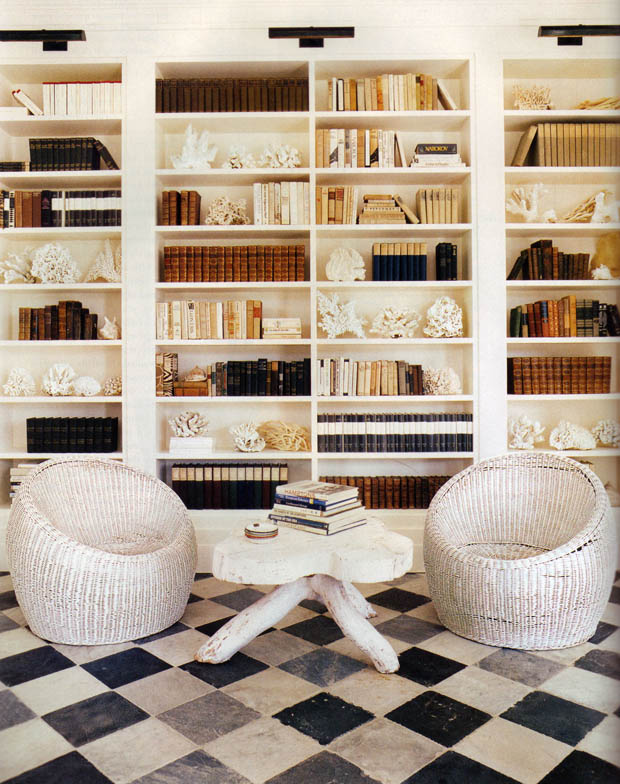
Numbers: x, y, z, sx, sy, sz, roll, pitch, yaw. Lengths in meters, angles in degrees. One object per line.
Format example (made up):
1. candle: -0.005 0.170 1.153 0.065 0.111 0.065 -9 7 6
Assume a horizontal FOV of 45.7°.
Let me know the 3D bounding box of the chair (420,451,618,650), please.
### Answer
1. chair: 0.892 0.638 3.121 0.808 0.678 0.798 -2 4 -43

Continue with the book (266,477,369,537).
1. book: 0.067 0.444 2.882 0.277 0.123 0.205 3 4 45

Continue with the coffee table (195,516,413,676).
1. coffee table: -0.041 0.701 2.618 0.608 0.291 0.596 -3 4 -39

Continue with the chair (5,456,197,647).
1. chair: -0.868 0.649 3.118 0.729 0.673 0.639 -1 6 -1
